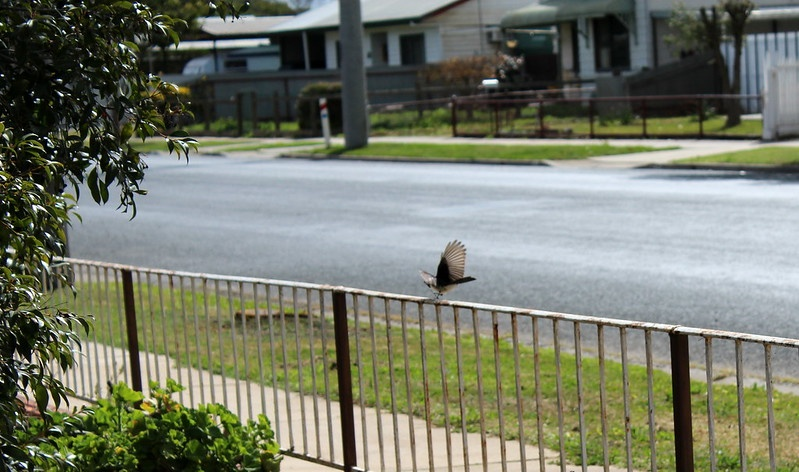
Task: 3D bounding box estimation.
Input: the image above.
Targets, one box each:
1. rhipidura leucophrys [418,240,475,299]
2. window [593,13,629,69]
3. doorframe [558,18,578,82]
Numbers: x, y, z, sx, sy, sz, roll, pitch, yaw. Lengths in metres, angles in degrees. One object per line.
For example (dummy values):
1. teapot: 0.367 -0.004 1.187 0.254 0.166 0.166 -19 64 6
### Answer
1. rhipidura leucophrys: 0.688 0.460 21.692 0.700 0.842 0.397 1 6 27
2. window: 5.717 -5.271 42.101 0.901 1.754 0.125 -1 -25 5
3. doorframe: 4.616 -5.315 42.818 0.594 1.592 0.126 -4 19 24
